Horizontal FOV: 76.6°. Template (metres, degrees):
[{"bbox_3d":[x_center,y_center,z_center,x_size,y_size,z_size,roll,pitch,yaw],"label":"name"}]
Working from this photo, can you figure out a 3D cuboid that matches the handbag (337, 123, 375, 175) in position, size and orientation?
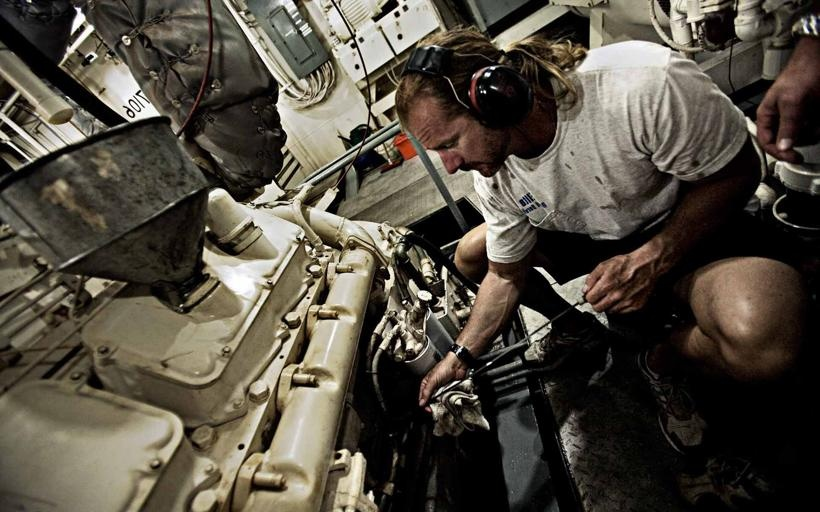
[{"bbox_3d":[-0.557,-1.271,6.111,0.359,0.341,0.969,-31,28,2],"label":"handbag"}]

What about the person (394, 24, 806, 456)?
[{"bbox_3d":[0.766,-0.160,2.139,1.308,1.769,0.881,-13,34,32],"label":"person"}]

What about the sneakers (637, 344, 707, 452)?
[{"bbox_3d":[1.145,0.609,2.253,0.189,0.184,0.503,-19,40,7],"label":"sneakers"}]
